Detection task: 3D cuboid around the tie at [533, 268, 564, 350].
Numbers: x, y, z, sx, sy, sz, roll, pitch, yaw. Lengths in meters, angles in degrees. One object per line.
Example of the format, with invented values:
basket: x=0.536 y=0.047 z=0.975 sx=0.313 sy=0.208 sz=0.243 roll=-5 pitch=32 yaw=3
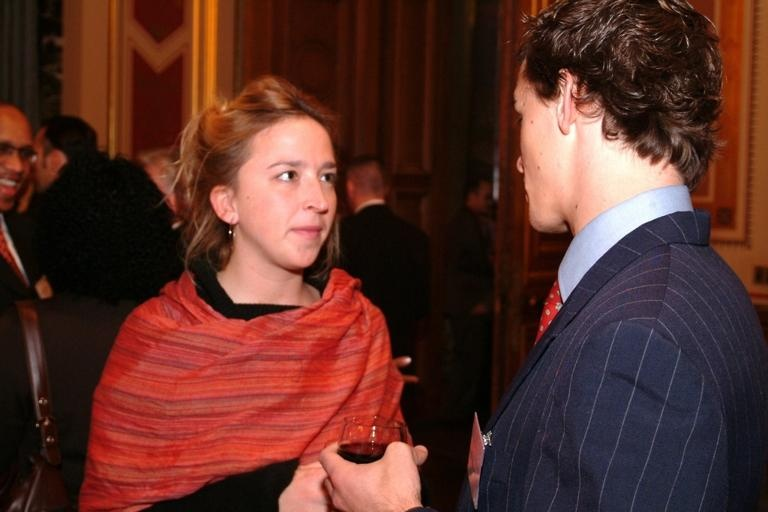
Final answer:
tie: x=0.435 y=0.153 z=2.006 sx=0.067 sy=0.259 sz=0.053 roll=6 pitch=25 yaw=7
